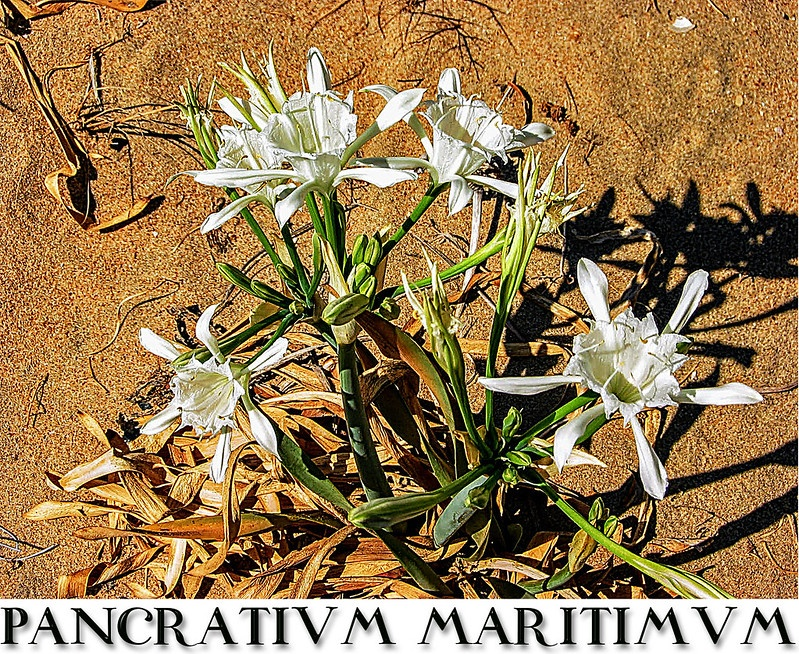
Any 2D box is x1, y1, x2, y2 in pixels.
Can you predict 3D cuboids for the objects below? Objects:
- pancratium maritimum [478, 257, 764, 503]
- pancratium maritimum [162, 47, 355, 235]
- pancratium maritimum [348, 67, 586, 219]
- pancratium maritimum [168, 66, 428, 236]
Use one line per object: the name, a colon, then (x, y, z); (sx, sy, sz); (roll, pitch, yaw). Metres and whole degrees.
pancratium maritimum: (0.359, 0.159, 2.087); (0.386, 0.479, 0.347); (-40, 72, -16)
pancratium maritimum: (-0.200, -0.281, 2.013); (0.166, 0.273, 0.312); (26, 63, -30)
pancratium maritimum: (0.073, -0.264, 1.975); (0.227, 0.185, 0.120); (19, 88, -30)
pancratium maritimum: (-0.129, -0.287, 1.950); (0.388, 0.363, 0.217); (-23, 93, -30)
